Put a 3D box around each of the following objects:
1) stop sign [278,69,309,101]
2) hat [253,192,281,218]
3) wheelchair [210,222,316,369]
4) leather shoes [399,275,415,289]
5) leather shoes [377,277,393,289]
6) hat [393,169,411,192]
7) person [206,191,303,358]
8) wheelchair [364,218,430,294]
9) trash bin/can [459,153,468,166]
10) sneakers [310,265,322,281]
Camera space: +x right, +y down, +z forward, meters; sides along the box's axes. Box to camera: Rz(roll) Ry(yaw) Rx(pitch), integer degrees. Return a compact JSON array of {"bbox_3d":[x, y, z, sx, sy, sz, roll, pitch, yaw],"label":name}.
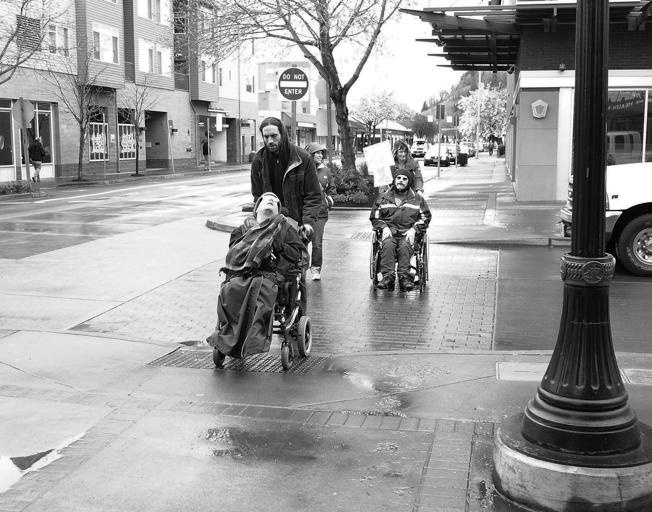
[{"bbox_3d":[-0.813,-4.166,14.638,0.756,0.904,0.115,-8,15,17],"label":"stop sign"},{"bbox_3d":[-0.613,-0.562,6.247,0.207,0.249,0.296,7,18,3],"label":"hat"},{"bbox_3d":[-0.677,0.312,6.030,1.014,1.605,1.009,4,-10,-34],"label":"wheelchair"},{"bbox_3d":[1.251,0.415,9.295,0.118,0.159,0.314,-2,-3,0],"label":"leather shoes"},{"bbox_3d":[0.937,0.423,9.449,0.274,0.201,0.176,0,9,0],"label":"leather shoes"},{"bbox_3d":[1.243,-1.228,9.785,0.238,0.384,0.350,3,-5,13],"label":"hat"},{"bbox_3d":[-0.680,0.166,5.897,0.650,1.484,0.886,4,9,24],"label":"person"},{"bbox_3d":[1.251,0.072,9.922,0.811,1.432,1.010,0,-8,9],"label":"wheelchair"},{"bbox_3d":[12.214,-8.616,53.826,0.979,1.336,1.087,0,10,8],"label":"trash bin/can"},{"bbox_3d":[-0.184,0.284,10.160,0.198,0.312,0.661,-1,-1,4],"label":"sneakers"}]
